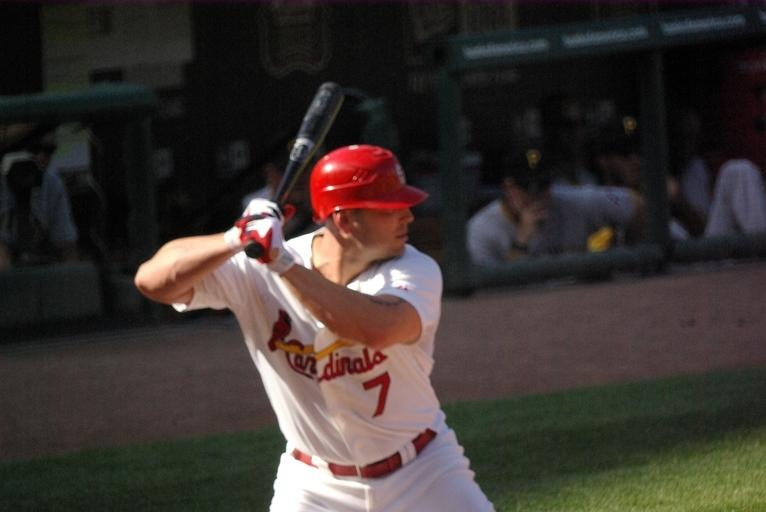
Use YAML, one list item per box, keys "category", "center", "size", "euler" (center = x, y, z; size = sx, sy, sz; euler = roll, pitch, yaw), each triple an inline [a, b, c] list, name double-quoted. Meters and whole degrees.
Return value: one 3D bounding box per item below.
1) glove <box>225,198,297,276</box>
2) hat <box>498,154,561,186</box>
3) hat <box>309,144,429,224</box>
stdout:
- category: "glove"
  center: [-0.412, -0.025, 3.095]
  size: [0.247, 0.097, 0.248]
  euler: [33, 24, -20]
- category: "hat"
  center: [0.782, -0.462, 4.751]
  size: [0.170, 0.142, 0.228]
  euler: [1, 5, 2]
- category: "hat"
  center: [-0.067, -0.262, 3.295]
  size: [0.358, 0.193, 0.268]
  euler: [-4, 11, 14]
